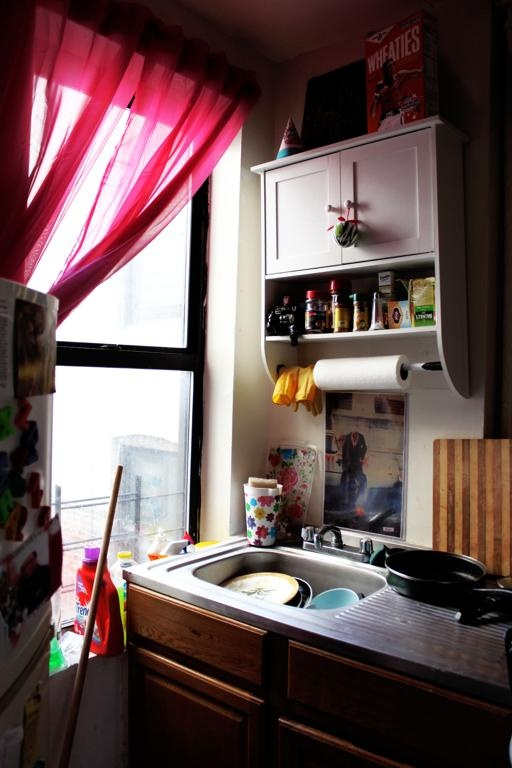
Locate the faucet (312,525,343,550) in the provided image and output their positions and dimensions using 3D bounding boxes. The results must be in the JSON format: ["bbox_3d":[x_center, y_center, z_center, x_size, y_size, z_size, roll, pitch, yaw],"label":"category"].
[{"bbox_3d":[0.208,0.460,1.655,0.071,0.055,0.110,-7,2,-27],"label":"faucet"}]

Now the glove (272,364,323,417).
[{"bbox_3d":[0.127,0.037,1.710,0.135,0.171,0.064,6,-2,40],"label":"glove"}]

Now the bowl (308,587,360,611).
[{"bbox_3d":[0.197,0.558,1.392,0.098,0.029,0.093,-5,18,2],"label":"bowl"}]

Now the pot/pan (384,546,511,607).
[{"bbox_3d":[0.421,0.397,1.228,0.110,0.039,0.242,2,-1,-13],"label":"pot/pan"}]

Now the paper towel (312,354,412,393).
[{"bbox_3d":[0.285,-0.030,1.527,0.293,0.075,0.087,-5,2,41],"label":"paper towel"}]

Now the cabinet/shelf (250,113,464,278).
[{"bbox_3d":[0.258,-0.504,1.545,0.614,0.314,0.206,-5,2,38],"label":"cabinet/shelf"}]
